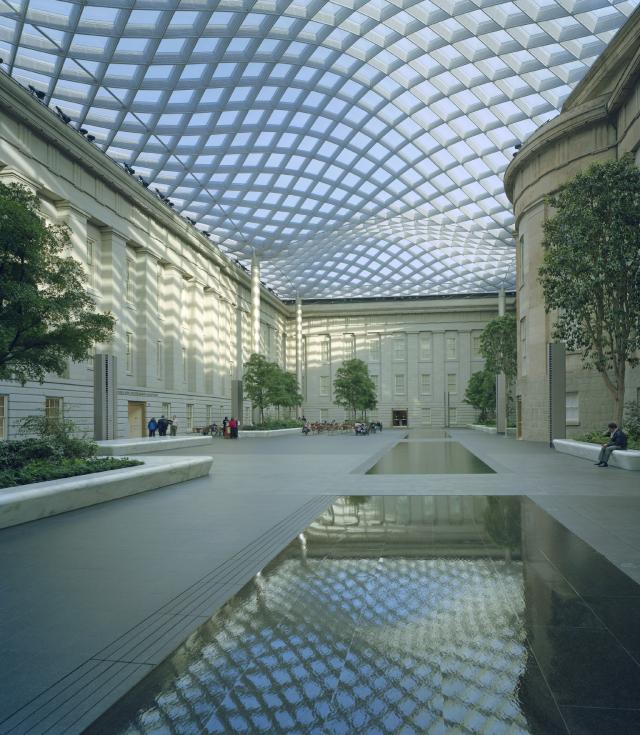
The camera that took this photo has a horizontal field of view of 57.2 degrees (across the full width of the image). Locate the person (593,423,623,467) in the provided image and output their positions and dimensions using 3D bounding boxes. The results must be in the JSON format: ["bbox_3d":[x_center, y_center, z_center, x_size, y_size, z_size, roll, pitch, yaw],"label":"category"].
[{"bbox_3d":[7.932,2.169,16.060,0.781,1.134,0.678,-2,-3,8],"label":"person"}]
